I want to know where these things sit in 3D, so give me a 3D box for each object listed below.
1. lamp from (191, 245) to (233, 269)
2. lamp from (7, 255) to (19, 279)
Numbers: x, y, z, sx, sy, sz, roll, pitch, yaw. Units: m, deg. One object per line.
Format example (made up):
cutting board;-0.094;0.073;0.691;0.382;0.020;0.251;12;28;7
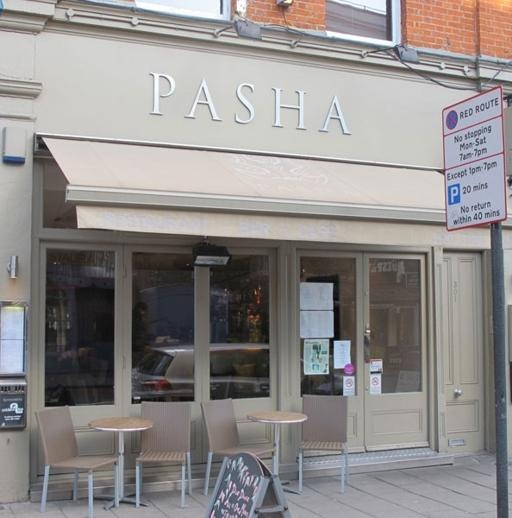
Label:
lamp;-0.495;-0.018;7.472;0.324;0.169;0.246;3;-11;-9
lamp;-2.443;0.102;6.890;0.103;0.232;0.064;1;0;-21
